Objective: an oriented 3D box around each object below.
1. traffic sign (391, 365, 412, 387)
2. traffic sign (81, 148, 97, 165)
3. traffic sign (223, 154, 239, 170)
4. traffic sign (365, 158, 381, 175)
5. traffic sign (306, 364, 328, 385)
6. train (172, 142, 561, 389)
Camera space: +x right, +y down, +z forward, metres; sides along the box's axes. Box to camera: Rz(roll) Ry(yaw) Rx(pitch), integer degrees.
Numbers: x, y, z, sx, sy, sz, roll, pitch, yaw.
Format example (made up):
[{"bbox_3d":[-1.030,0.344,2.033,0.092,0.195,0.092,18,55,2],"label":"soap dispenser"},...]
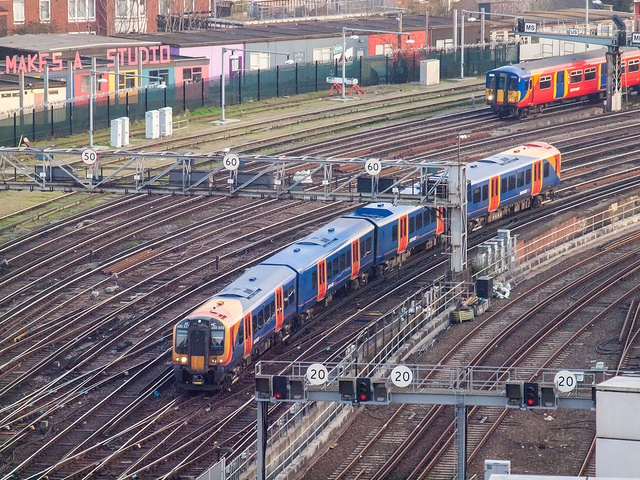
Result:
[{"bbox_3d":[3.862,6.386,78.132,1.401,1.344,0.181,0,7,-4],"label":"traffic sign"},{"bbox_3d":[-13.594,-5.153,98.731,1.037,0.963,0.138,-5,19,-13],"label":"traffic sign"},{"bbox_3d":[-5.122,-4.686,97.350,0.908,1.113,1.178,-4,15,-4],"label":"traffic sign"},{"bbox_3d":[3.135,-4.321,96.087,0.909,1.097,0.897,-1,15,5],"label":"traffic sign"},{"bbox_3d":[-0.111,6.364,78.325,1.142,0.996,0.483,-10,16,-25],"label":"traffic sign"},{"bbox_3d":[4.553,-0.469,103.236,9.494,9.630,37.128,5,16,28],"label":"train"}]
